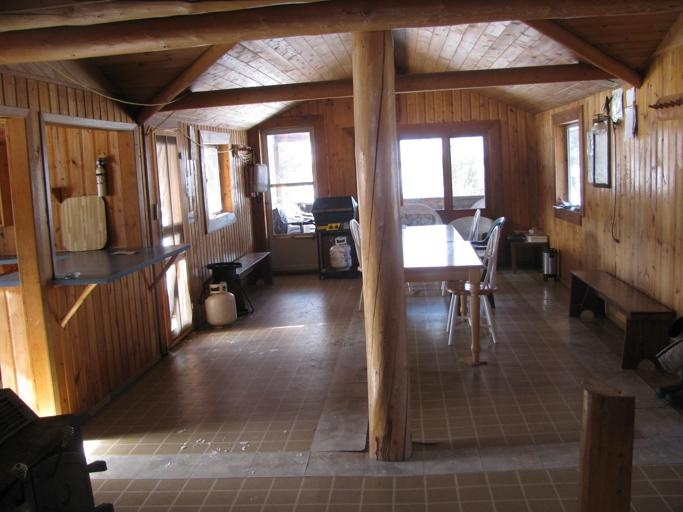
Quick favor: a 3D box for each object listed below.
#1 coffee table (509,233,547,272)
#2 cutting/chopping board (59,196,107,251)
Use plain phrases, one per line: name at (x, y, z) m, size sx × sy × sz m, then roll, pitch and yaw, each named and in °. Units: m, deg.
coffee table at (2.987, -0.068, 9.121) m, size 0.654 × 0.573 × 0.627 m, roll 0°, pitch 7°, yaw 5°
cutting/chopping board at (-2.672, -0.358, 5.756) m, size 0.608 × 0.720 × 0.080 m, roll -1°, pitch 5°, yaw -9°
